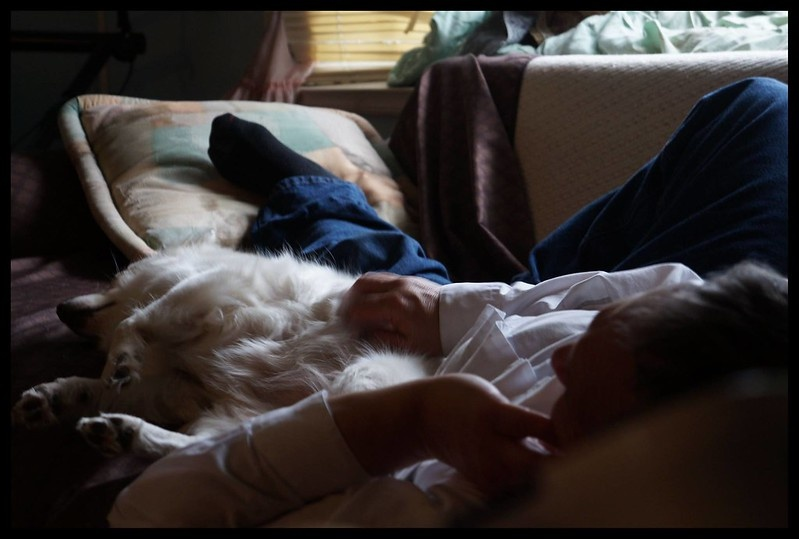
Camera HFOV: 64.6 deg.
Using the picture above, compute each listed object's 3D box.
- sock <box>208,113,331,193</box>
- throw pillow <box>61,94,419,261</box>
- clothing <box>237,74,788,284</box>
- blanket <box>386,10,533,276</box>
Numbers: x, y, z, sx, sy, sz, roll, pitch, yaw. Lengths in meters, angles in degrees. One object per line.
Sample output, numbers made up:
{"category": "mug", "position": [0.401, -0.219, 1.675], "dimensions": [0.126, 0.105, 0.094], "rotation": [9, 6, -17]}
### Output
{"category": "sock", "position": [-0.262, -0.219, 1.219], "dimensions": [0.211, 0.073, 0.090], "rotation": [30, -10, -1]}
{"category": "throw pillow", "position": [-0.310, -0.162, 1.454], "dimensions": [0.686, 0.182, 0.728], "rotation": [3, 1, 27]}
{"category": "clothing", "position": [0.089, -0.103, 0.978], "dimensions": [0.798, 0.298, 0.315], "rotation": [9, 26, 20]}
{"category": "blanket", "position": [0.147, -0.237, 1.364], "dimensions": [0.148, 0.478, 0.344], "rotation": [-15, -18, 37]}
